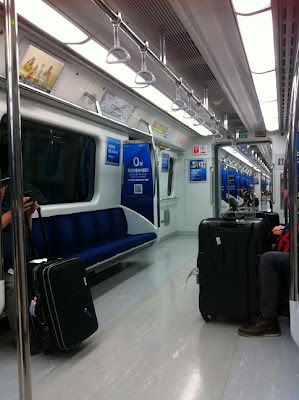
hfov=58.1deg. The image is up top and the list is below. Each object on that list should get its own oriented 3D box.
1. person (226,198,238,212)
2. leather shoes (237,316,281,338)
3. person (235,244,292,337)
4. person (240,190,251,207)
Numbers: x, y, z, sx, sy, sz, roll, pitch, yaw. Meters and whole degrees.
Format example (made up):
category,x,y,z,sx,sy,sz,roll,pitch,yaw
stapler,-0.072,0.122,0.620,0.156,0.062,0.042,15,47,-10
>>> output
category,x,y,z,sx,sy,sz,roll,pitch,yaw
person,3.600,0.233,11.873,0.454,0.437,0.833,5,-26,21
leather shoes,1.019,1.166,2.533,0.392,0.198,0.175,0,-8,7
person,1.124,0.852,2.472,0.578,0.789,0.357,-1,-1,-25
person,5.730,-0.057,16.192,0.804,0.882,1.558,3,-13,11
